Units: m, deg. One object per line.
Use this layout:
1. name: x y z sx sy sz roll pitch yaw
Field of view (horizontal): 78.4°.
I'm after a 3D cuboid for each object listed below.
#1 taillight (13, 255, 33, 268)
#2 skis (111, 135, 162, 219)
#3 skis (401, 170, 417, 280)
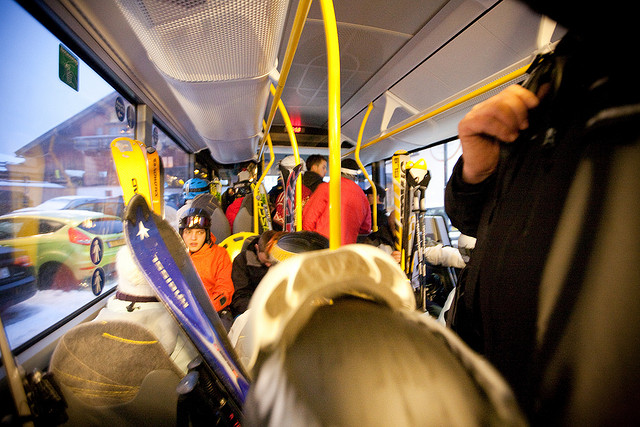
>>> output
1. taillight: -1.627 0.263 2.125 0.090 0.032 0.057 16 0 28
2. skis: -1.212 -0.156 2.571 0.197 0.789 0.134 -7 42 -14
3. skis: 0.710 0.102 3.087 0.117 0.898 0.125 1 2 26
